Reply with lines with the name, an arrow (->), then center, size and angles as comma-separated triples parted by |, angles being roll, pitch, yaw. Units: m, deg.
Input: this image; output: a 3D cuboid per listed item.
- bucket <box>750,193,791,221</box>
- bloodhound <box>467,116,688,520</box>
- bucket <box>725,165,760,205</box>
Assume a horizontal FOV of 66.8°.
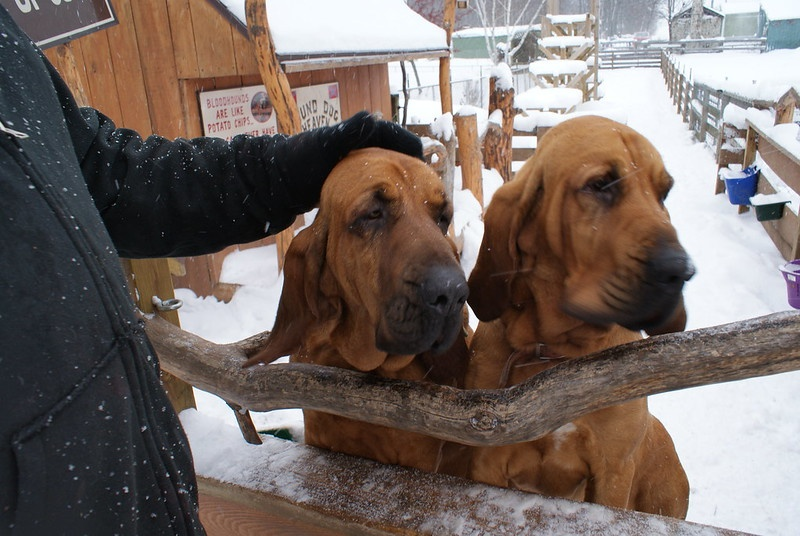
bucket -> 5.341, -0.906, 8.841 | 0.388, 0.300, 0.349 | 10, 12, 33
bloodhound -> 0.848, 0.479, 3.073 | 1.162, 2.360, 0.910 | 9, 28, 26
bucket -> 5.617, -1.355, 10.178 | 0.518, 0.736, 0.706 | 5, 8, 16
